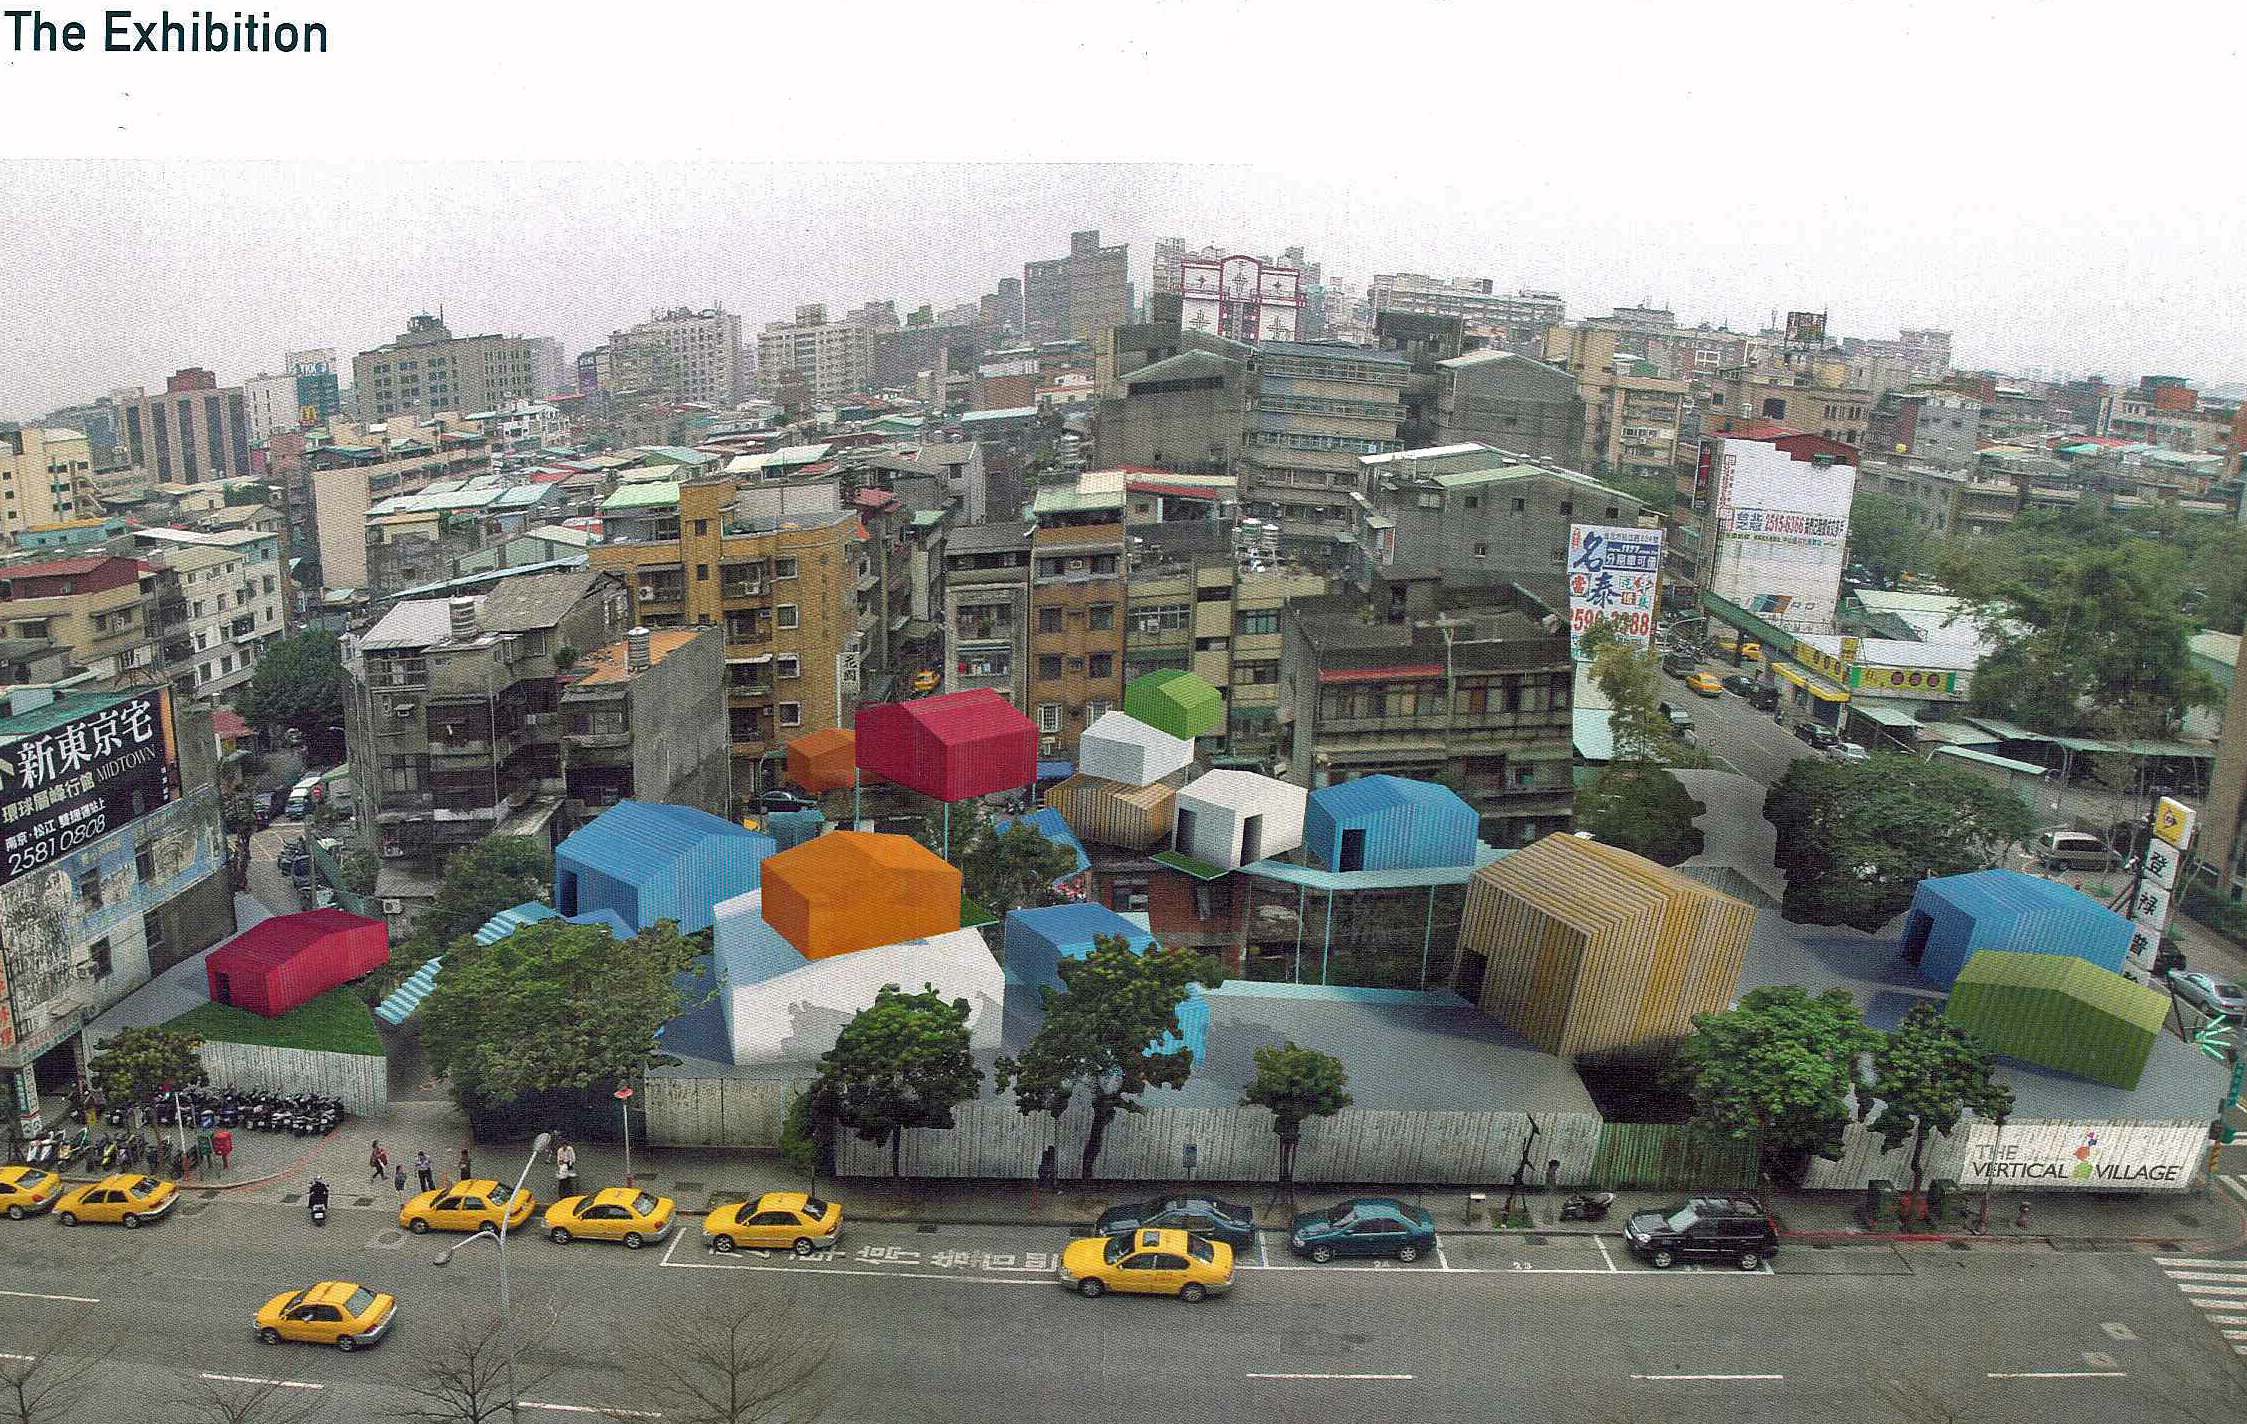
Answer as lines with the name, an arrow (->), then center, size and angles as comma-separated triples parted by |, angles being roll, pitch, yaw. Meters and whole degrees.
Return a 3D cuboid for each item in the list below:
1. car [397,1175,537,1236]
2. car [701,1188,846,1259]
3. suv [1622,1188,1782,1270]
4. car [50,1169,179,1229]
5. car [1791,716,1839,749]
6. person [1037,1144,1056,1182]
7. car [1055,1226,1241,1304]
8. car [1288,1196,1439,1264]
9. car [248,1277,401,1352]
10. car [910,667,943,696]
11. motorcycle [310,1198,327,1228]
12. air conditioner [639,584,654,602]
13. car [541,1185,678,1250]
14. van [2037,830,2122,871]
car -> -19.024, 14.375, 55.052 | 3.955, 1.090, 1.730 | 3, 16, -4
car -> -10.113, 14.751, 54.836 | 3.756, 1.082, 1.627 | 3, 21, -1
suv -> 16.781, 14.845, 54.979 | 4.010, 1.473, 1.911 | 3, 8, 2
car -> -29.533, 14.205, 55.631 | 3.149, 0.888, 1.441 | 3, 12, -6
car -> 33.534, 1.026, 91.204 | 1.883, 0.795, 1.013 | -22, 35, -35
person -> -2.229, 13.400, 56.609 | 0.536, 1.104, 0.437 | 1, 19, 3
car -> 0.824, 15.458, 53.608 | 4.670, 1.194, 1.990 | 5, 21, -1
car -> 7.001, 14.978, 54.824 | 4.121, 1.175, 1.708 | 2, 11, -1
car -> -22.033, 16.534, 52.085 | 3.379, 1.000, 1.731 | 6, 24, -4
car -> -9.375, -1.466, 90.607 | 1.433, 0.677, 2.784 | -2, 17, -8
motorcycle -> -23.473, 14.531, 55.332 | 0.458, 0.670, 0.423 | -8, 21, -23
air conditioner -> -19.360, -4.848, 77.099 | 0.675, 0.576, 0.322 | 4, 23, 3
car -> -14.899, 14.473, 54.919 | 3.449, 1.008, 1.593 | 4, 16, -2
van -> 39.763, 5.825, 78.912 | 2.877, 1.142, 1.642 | -1, 17, 11
